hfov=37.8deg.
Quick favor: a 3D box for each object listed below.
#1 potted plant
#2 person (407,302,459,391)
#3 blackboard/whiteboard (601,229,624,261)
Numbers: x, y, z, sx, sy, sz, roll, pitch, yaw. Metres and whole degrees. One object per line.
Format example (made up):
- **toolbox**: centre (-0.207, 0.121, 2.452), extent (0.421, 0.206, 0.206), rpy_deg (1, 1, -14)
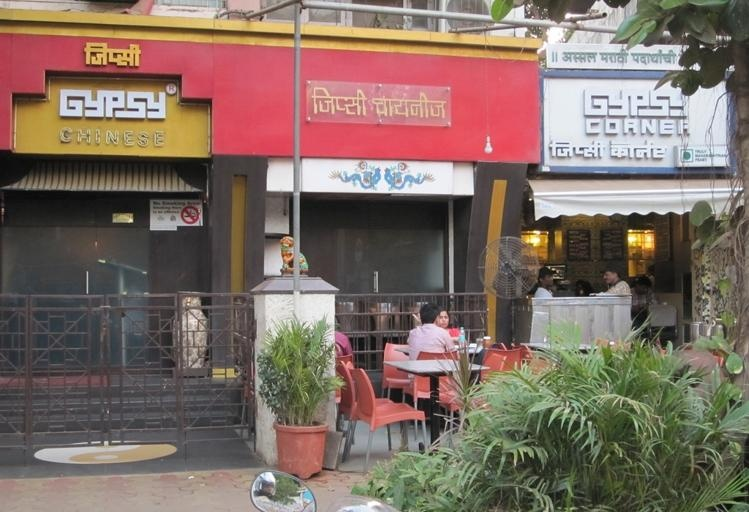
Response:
- **potted plant**: centre (-0.990, 1.821, 14.251), extent (1.075, 2.029, 0.627), rpy_deg (0, -3, -9)
- **person**: centre (0.747, 1.098, 15.166), extent (0.505, 0.864, 0.517), rpy_deg (-1, 3, -3)
- **blackboard/whiteboard**: centre (5.141, -0.247, 23.596), extent (0.500, 0.729, 0.079), rpy_deg (-1, -18, 9)
